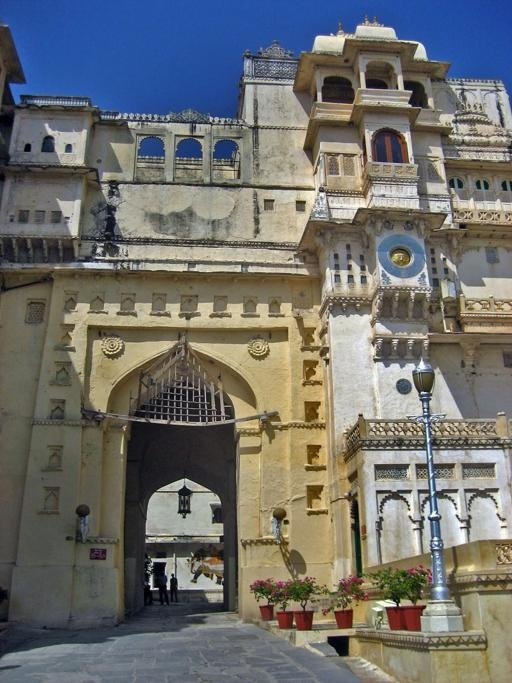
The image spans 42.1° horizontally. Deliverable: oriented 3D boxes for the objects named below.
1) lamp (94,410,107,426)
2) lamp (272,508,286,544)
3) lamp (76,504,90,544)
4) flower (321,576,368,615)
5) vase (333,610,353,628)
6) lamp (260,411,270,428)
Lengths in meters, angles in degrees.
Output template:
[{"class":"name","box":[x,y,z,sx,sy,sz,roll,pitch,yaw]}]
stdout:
[{"class":"lamp","box":[-4.650,2.303,20.039,0.344,0.399,0.435,3,-23,-11]},{"class":"lamp","box":[0.678,5.398,19.380,0.429,0.990,0.890,-1,-22,1]},{"class":"lamp","box":[-4.882,5.142,18.639,0.411,1.004,0.825,4,-22,-12]},{"class":"flower","box":[1.890,5.263,13.737,0.760,0.665,1.350,-4,-21,7]},{"class":"vase","box":[1.727,5.401,12.926,0.396,0.265,0.377,-5,-14,14]},{"class":"lamp","box":[0.274,2.470,20.681,0.295,0.397,0.421,-1,-22,0]}]
